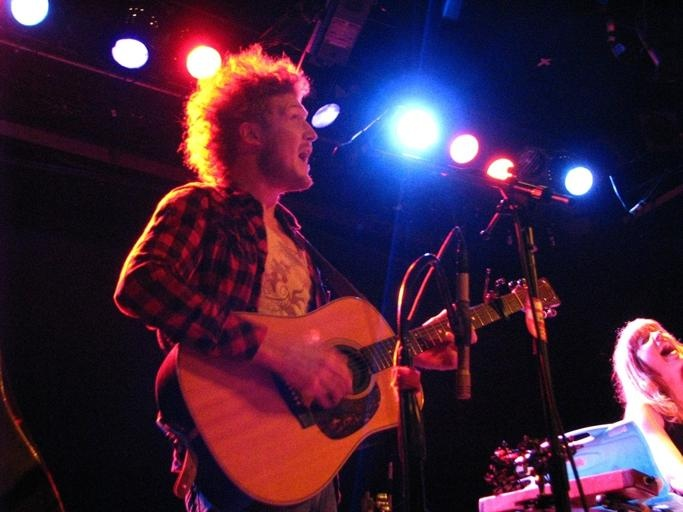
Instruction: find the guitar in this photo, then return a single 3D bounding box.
[{"bbox_3d":[0.235,0.742,3.680,2.286,1.002,0.346,-17,-7,-36],"label":"guitar"}]
